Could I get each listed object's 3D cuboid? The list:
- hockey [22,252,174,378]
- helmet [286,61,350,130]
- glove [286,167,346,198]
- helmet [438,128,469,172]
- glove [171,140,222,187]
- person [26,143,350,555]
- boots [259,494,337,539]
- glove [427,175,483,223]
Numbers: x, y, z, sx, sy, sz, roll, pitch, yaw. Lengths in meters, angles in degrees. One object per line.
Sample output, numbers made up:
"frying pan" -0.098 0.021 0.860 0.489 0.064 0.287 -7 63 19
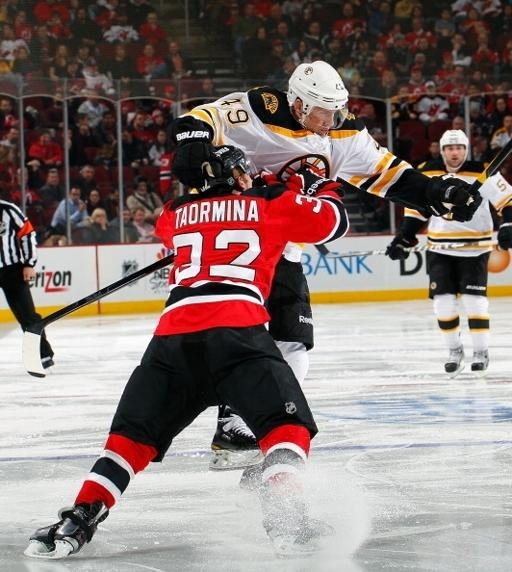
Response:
"hockey" -1.379 0.192 6.675 1.476 0.031 0.567 -34 1 25
"helmet" 0.194 -0.739 3.110 0.311 0.241 0.212 14 35 17
"glove" 0.192 -0.360 2.642 0.145 0.046 0.146 23 24 35
"helmet" 1.400 -0.933 5.674 0.264 0.253 0.313 -1 4 6
"glove" -0.183 -0.388 2.566 0.164 0.150 0.190 -2 14 22
"person" -0.165 0.144 2.433 0.859 1.160 0.780 0 8 6
"boots" 0.121 0.626 2.231 0.202 0.080 0.162 33 -25 -35
"glove" 0.722 -0.304 2.883 0.177 0.071 0.203 3 -14 39
